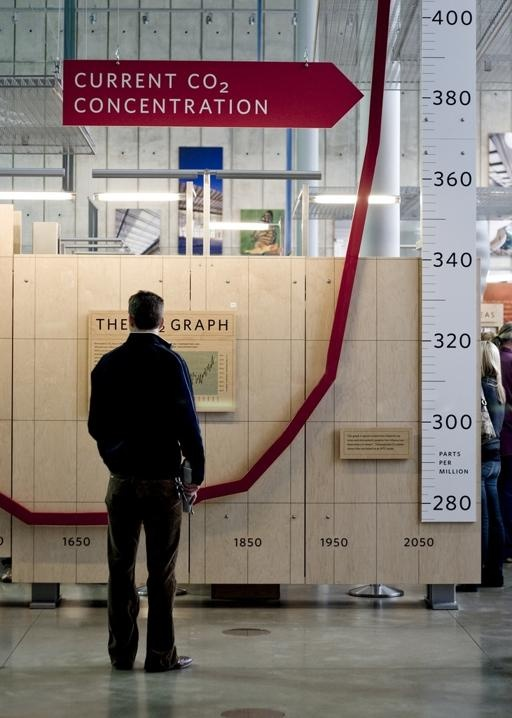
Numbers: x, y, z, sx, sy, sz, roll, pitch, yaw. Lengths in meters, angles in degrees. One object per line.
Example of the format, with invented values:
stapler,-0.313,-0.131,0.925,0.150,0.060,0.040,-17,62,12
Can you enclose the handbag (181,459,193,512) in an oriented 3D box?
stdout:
handbag,-0.345,0.617,5.541,0.056,0.242,0.083,1,9,6

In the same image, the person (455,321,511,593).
person,1.574,0.703,7.798,0.264,1.697,0.932,1,-1,21
